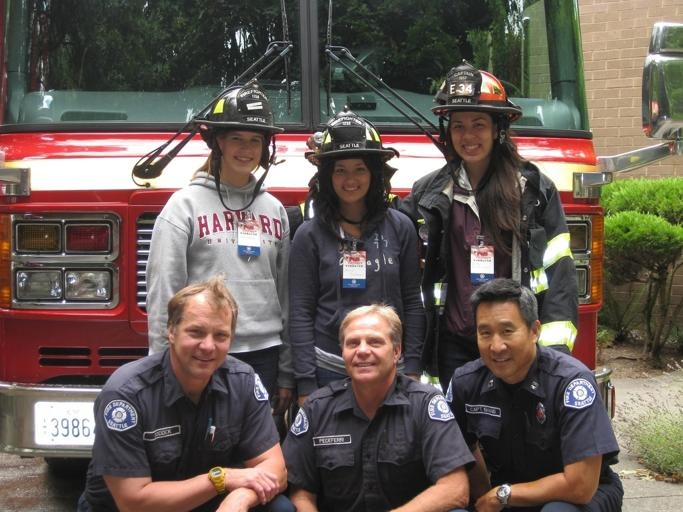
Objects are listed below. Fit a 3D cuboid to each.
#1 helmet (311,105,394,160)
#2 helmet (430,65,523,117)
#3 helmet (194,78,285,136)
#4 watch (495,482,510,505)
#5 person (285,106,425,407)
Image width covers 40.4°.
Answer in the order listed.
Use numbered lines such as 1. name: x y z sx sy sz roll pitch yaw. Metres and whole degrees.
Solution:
1. helmet: 0.022 -0.764 5.636 0.448 0.261 0.601 -5 21 -5
2. helmet: 0.828 -1.023 5.793 0.517 0.323 0.618 1 1 44
3. helmet: -0.622 -0.904 5.689 0.533 0.290 0.664 -1 3 -31
4. watch: 0.892 1.319 5.135 0.071 0.103 0.096 -5 -43 22
5. person: 0.079 0.319 5.644 0.831 2.369 0.707 -1 1 -2
